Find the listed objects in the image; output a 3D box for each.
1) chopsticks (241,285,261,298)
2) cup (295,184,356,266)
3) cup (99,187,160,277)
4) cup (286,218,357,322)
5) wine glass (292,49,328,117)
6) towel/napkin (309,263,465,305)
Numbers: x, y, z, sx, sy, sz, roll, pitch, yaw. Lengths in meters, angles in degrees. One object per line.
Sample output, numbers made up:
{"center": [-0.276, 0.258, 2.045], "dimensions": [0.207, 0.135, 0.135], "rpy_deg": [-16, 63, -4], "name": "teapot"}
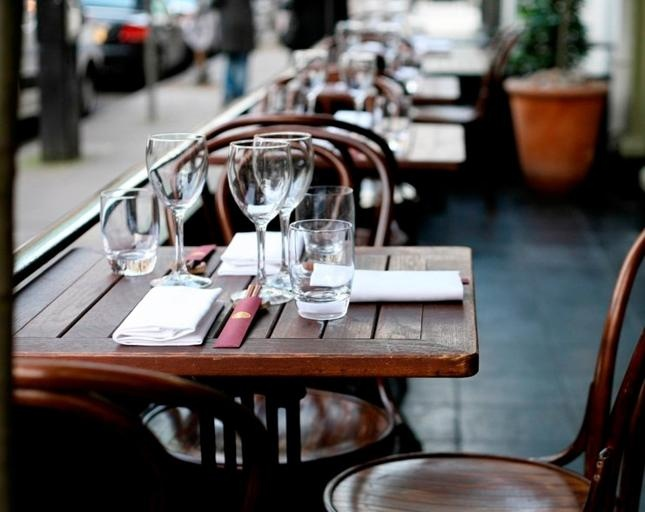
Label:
{"center": [-0.101, 0.052, 0.889], "dimensions": [0.013, 0.006, 0.022], "rpy_deg": [-6, 26, 12], "name": "chopsticks"}
{"center": [0.008, -0.038, 0.930], "dimensions": [0.083, 0.094, 0.091], "rpy_deg": [0, 10, 2], "name": "cup"}
{"center": [-0.330, -0.042, 1.045], "dimensions": [0.091, 0.143, 0.096], "rpy_deg": [2, 12, 0], "name": "cup"}
{"center": [0.001, 0.013, 0.844], "dimensions": [0.088, 0.136, 0.085], "rpy_deg": [-1, 20, 1], "name": "cup"}
{"center": [-0.059, -0.803, 2.722], "dimensions": [0.145, 0.308, 0.483], "rpy_deg": [-4, 8, -2], "name": "wine glass"}
{"center": [0.124, 0.039, 0.876], "dimensions": [0.147, 0.028, 0.089], "rpy_deg": [2, 18, 2], "name": "towel/napkin"}
